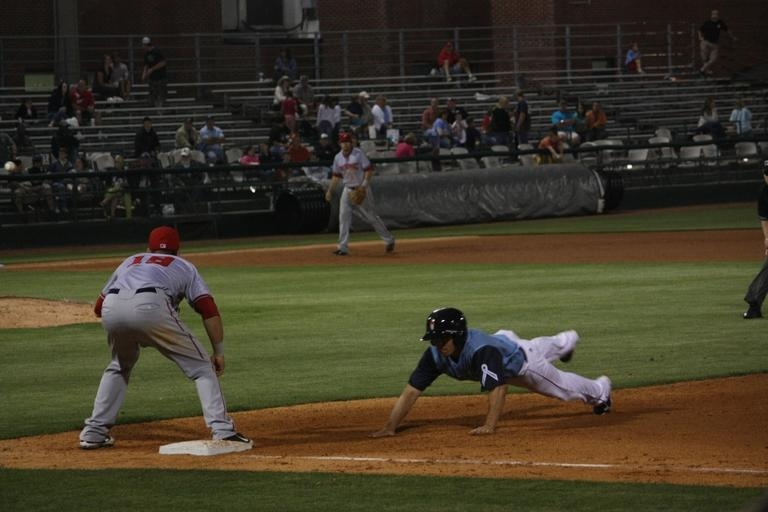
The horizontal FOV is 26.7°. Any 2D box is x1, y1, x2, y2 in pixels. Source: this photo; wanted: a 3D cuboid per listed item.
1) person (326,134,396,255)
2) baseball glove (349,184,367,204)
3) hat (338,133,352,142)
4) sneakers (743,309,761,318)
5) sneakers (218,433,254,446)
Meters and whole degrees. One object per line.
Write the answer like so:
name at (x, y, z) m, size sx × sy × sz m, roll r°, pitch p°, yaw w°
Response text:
person at (-0.627, -1.438, 37.715) m, size 1.337 × 2.926 × 1.147 m, roll 3°, pitch 12°, yaw 16°
baseball glove at (-0.611, -1.409, 37.191) m, size 0.334 × 0.465 × 0.506 m, roll -1°, pitch 34°, yaw -16°
hat at (-0.911, -2.753, 37.431) m, size 0.268 × 0.231 × 0.332 m, roll -1°, pitch 11°, yaw 0°
sneakers at (7.338, 1.125, 32.015) m, size 0.415 × 0.159 × 0.133 m, roll 1°, pitch 8°, yaw -6°
sneakers at (-2.566, 3.177, 27.998) m, size 0.420 × 0.134 × 0.281 m, roll 8°, pitch 1°, yaw -6°
